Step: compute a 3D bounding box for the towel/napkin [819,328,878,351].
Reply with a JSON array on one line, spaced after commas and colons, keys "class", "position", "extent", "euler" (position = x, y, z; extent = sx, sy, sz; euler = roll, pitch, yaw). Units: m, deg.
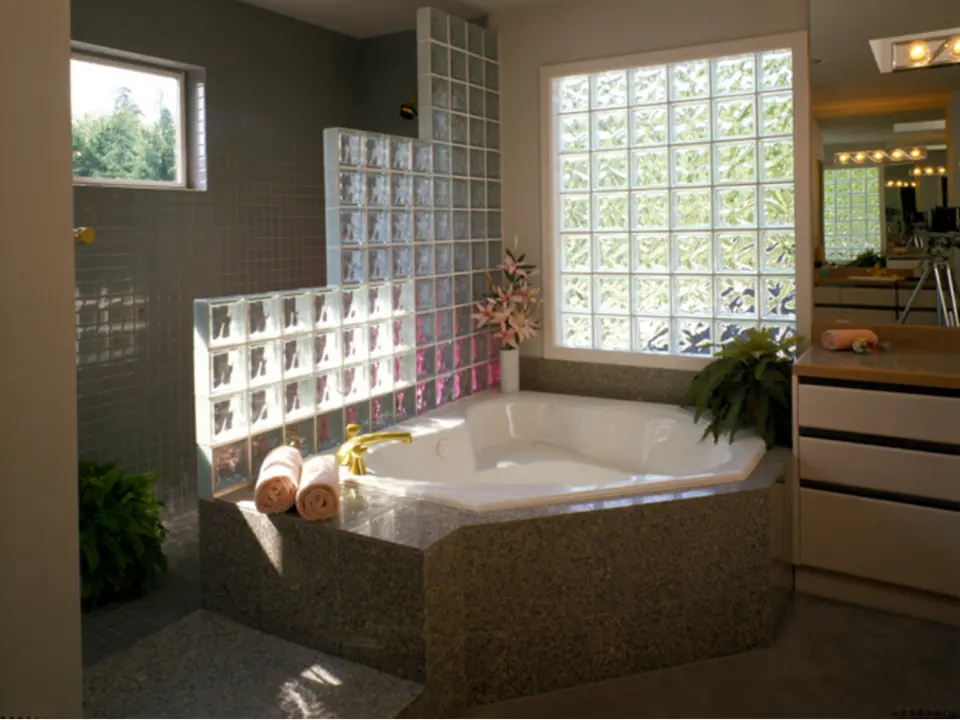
[{"class": "towel/napkin", "position": [1.790, -0.100, 3.339], "extent": [0.213, 0.094, 0.285], "euler": [9, 15, 40]}]

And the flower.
[{"class": "flower", "position": [0.202, -0.379, 4.165], "extent": [0.303, 0.522, 0.347], "euler": [2, 0, -4]}]

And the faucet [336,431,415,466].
[{"class": "faucet", "position": [-0.464, 0.360, 2.950], "extent": [0.215, 0.076, 0.163], "euler": [1, 4, 29]}]

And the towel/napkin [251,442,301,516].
[{"class": "towel/napkin", "position": [-0.750, 0.377, 2.600], "extent": [0.155, 0.138, 0.360], "euler": [4, 8, -7]}]

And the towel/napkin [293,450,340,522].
[{"class": "towel/napkin", "position": [-0.585, 0.403, 2.526], "extent": [0.135, 0.123, 0.315], "euler": [-1, 9, -5]}]
